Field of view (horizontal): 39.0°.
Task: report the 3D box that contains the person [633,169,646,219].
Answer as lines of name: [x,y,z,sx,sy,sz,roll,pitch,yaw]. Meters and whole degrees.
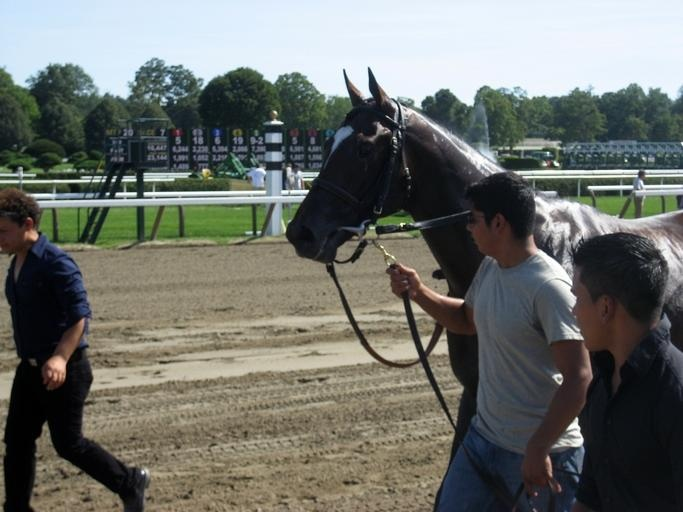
person: [5.059,-0.983,16.317,0.267,0.963,0.262,1,24,14]
